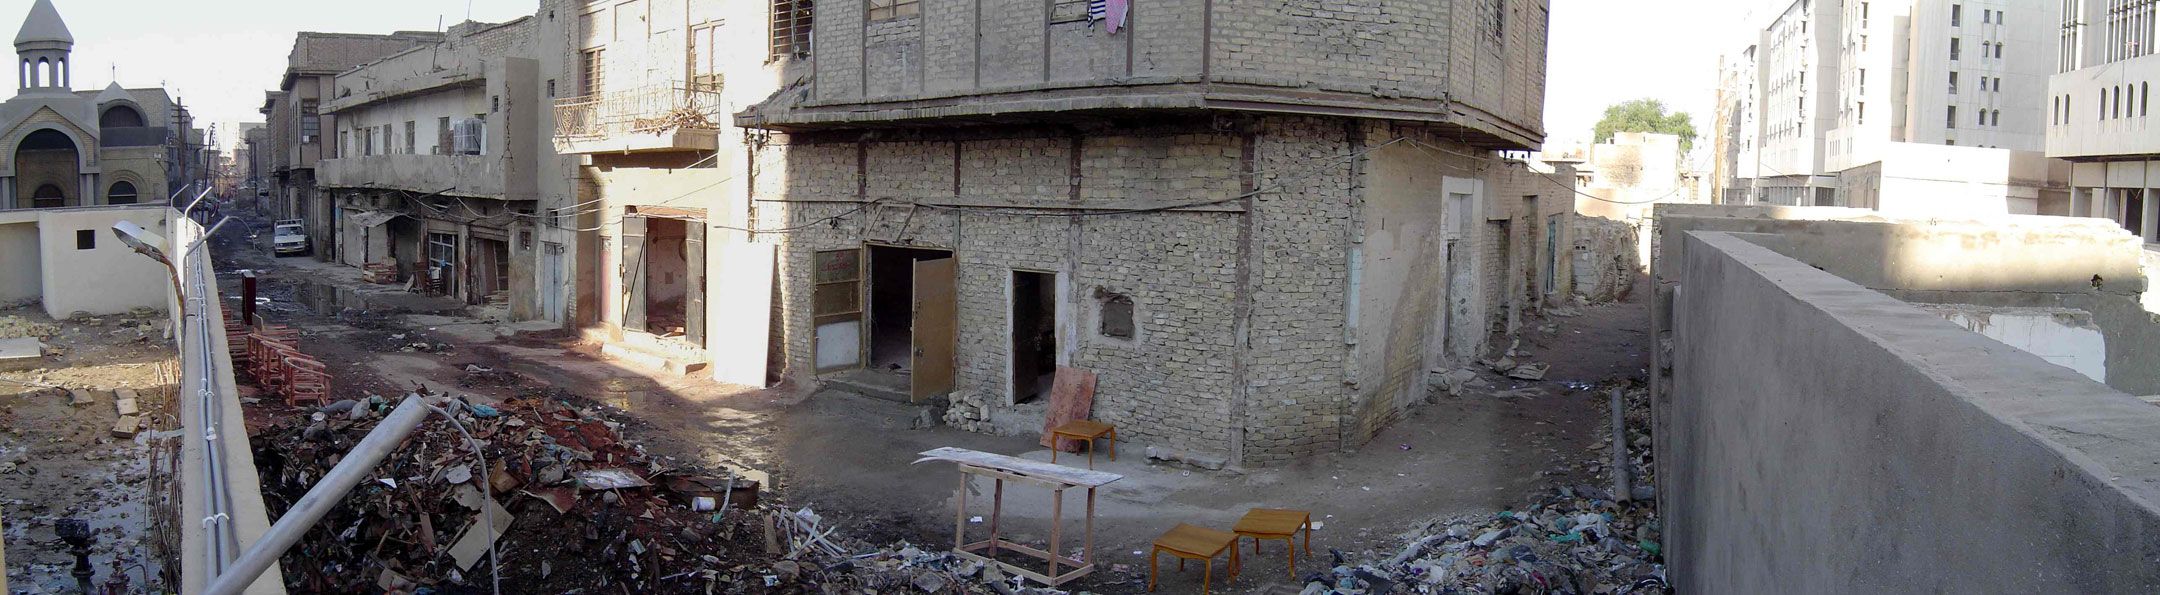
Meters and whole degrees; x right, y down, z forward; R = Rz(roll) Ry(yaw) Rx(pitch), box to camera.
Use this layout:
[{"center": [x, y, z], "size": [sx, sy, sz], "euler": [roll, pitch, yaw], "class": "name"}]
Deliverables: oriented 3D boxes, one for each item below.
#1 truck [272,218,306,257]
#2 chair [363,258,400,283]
[{"center": [-77.505, -5.755, 109.399], "size": [2.784, 3.148, 3.046], "euler": [0, 4, -27], "class": "truck"}, {"center": [-61.840, -2.346, 98.688], "size": [3.702, 1.366, 1.741], "euler": [3, 4, 33], "class": "chair"}]
